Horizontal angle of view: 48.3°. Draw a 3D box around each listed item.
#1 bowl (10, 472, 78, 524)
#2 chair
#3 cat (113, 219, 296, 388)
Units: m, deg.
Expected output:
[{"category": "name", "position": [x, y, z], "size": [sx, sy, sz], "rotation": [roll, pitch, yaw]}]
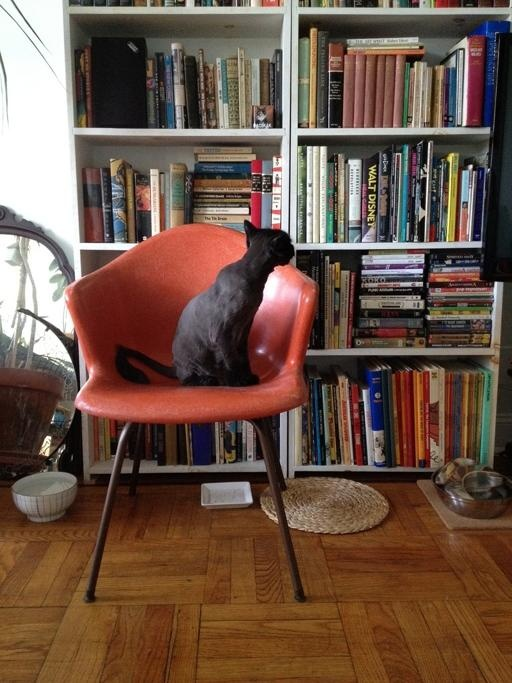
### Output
[{"category": "bowl", "position": [-0.569, 0.421, 1.555], "size": [0.170, 0.074, 0.159], "rotation": [2, 11, 0]}, {"category": "chair", "position": [-0.141, 0.098, 1.320], "size": [0.538, 0.657, 0.537], "rotation": [-5, 15, -13]}, {"category": "cat", "position": [-0.060, -0.077, 1.266], "size": [0.270, 0.373, 0.152], "rotation": [-1, 11, -2]}]
